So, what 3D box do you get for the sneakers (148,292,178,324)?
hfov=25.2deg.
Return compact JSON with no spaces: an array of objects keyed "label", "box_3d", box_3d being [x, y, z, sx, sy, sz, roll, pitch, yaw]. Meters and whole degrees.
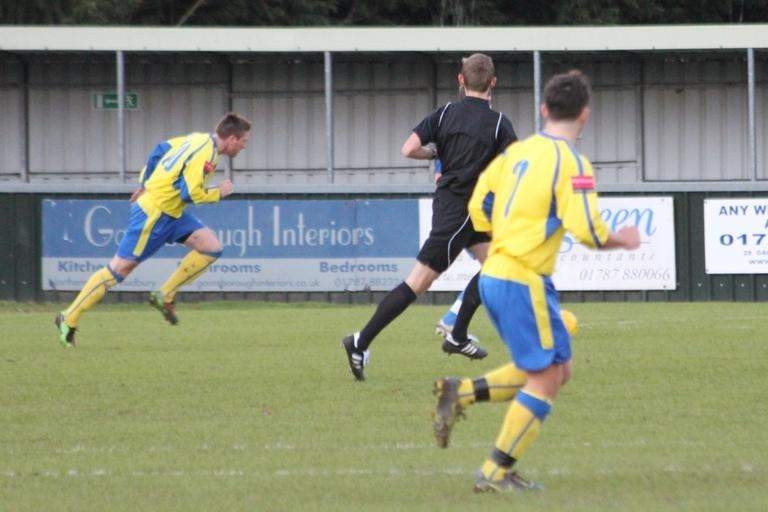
[{"label":"sneakers","box_3d":[-4.245,1.005,32.672,0.221,0.665,0.301,-50,4,39]}]
